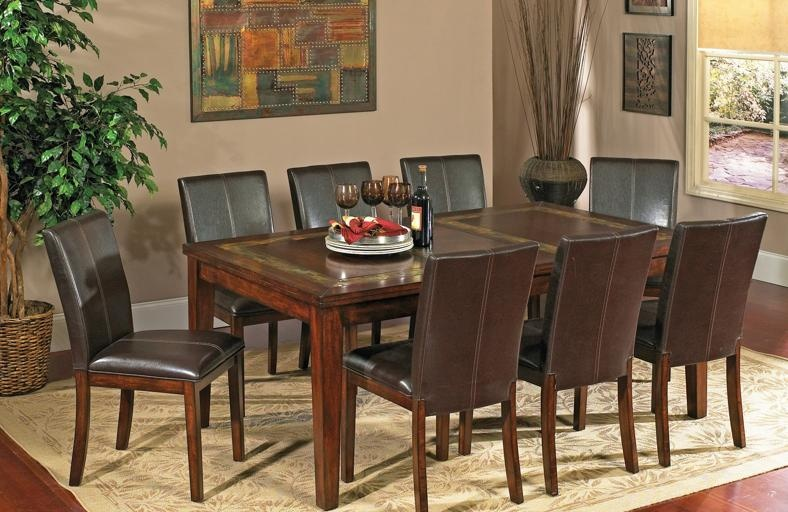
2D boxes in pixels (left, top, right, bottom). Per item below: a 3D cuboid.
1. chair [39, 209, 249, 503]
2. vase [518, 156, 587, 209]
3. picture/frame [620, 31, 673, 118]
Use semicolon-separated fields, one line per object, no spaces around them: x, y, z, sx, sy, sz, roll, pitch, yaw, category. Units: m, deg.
-1.138;0.437;3.028;0.708;1.276;0.490;-1;14;13;chair
1.411;-0.638;5.990;0.618;0.459;0.570;-1;4;-5;vase
2.296;-1.644;5.917;0.088;0.775;0.507;-15;16;-36;picture/frame
